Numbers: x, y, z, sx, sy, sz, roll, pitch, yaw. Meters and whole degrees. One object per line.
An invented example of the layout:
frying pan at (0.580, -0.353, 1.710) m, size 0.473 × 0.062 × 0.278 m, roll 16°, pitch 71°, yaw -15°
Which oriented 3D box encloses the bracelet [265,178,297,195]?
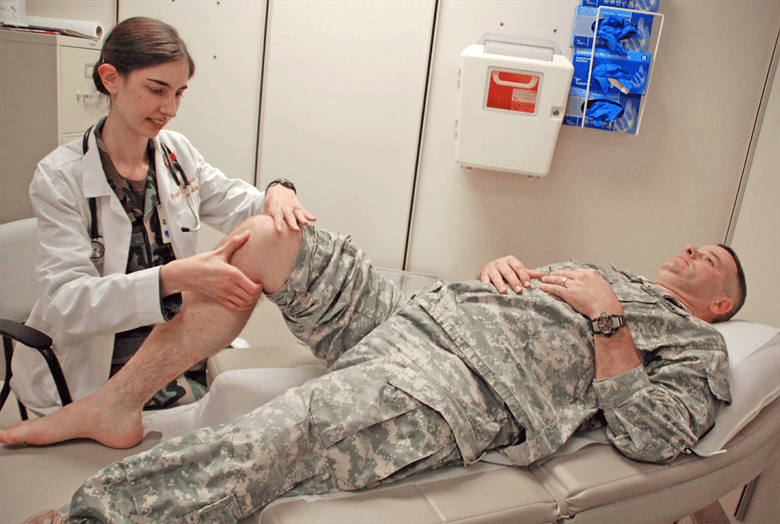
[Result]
bracelet at (-0.458, -0.328, 2.362) m, size 0.127 × 0.045 × 0.129 m, roll -2°, pitch 10°, yaw -13°

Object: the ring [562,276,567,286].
ring at (0.673, 0.074, 2.202) m, size 0.023 × 0.024 × 0.024 m, roll 12°, pitch -1°, yaw 0°

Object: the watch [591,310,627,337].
watch at (0.799, 0.228, 2.075) m, size 0.113 × 0.073 × 0.108 m, roll -16°, pitch -7°, yaw 11°
